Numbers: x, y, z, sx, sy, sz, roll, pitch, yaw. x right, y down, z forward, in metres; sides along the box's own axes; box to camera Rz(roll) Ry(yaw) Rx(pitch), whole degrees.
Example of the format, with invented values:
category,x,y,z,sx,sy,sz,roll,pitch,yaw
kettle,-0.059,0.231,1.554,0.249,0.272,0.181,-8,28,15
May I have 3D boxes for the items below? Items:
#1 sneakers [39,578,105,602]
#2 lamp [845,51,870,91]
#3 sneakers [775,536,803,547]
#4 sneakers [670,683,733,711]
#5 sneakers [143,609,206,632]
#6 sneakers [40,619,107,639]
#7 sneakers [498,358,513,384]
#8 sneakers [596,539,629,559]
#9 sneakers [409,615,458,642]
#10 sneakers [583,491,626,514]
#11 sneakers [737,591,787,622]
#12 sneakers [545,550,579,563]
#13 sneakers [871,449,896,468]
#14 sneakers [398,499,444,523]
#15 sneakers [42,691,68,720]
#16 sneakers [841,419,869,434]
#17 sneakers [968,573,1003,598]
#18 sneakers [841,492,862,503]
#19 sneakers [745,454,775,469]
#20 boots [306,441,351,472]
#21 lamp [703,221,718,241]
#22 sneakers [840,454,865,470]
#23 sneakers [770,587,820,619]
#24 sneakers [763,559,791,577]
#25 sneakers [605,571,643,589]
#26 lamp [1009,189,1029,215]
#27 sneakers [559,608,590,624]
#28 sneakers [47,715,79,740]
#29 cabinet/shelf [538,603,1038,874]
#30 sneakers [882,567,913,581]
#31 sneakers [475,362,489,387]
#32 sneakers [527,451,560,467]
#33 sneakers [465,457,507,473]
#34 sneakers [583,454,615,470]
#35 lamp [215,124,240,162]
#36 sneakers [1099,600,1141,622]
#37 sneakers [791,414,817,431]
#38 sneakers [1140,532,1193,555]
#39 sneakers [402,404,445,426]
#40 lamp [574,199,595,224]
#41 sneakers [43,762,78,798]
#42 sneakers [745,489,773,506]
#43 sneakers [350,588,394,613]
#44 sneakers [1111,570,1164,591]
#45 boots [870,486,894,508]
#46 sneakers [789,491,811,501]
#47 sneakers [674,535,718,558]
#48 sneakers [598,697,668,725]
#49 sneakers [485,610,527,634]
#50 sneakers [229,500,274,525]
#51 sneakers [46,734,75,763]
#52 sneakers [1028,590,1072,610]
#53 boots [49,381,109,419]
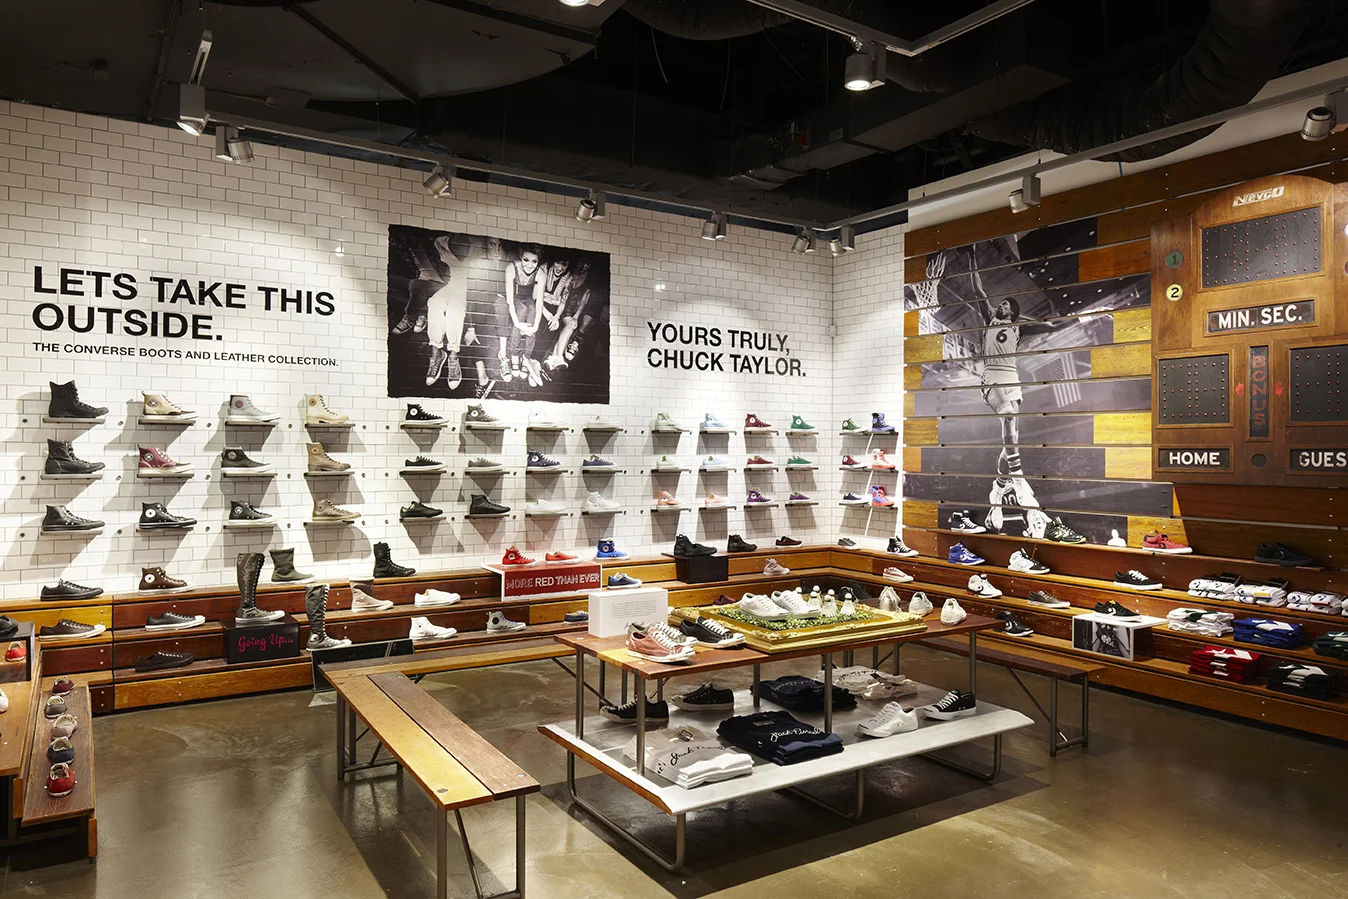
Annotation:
category,x,y,z,sx,sy,sz,roll,pitch,yaw
sneakers,-5.437,1.294,7.788,0.557,0.158,0.186,0,0,-19
lamp,1.425,-2.970,6.623,0.168,0.237,0.180,9,15,33
sneakers,1.477,1.207,11.099,0.353,0.116,0.108,0,-7,-9
sneakers,0.265,1.934,6.634,0.633,0.195,0.203,1,-8,4
sneakers,-4.605,1.580,7.892,0.389,0.104,0.174,1,-2,-23
sneakers,-5.333,1.595,7.599,0.476,0.138,0.168,0,0,-24
sneakers,-1.894,-0.905,9.670,0.137,0.251,0.109,-1,6,45
sneakers,-0.761,1.159,10.007,0.345,0.207,0.322,-2,12,-13
sneakers,-2.428,1.816,8.584,0.521,0.218,0.188,0,-2,-18
sneakers,-0.847,0.630,10.008,0.397,0.151,0.265,-2,-3,44
sneakers,0.625,1.143,6.158,0.313,0.088,0.150,-1,-3,35
sneakers,-1.261,1.202,9.511,0.297,0.079,0.142,0,-3,-18
sneakers,2.636,0.121,10.871,0.200,0.246,0.395,-9,15,-37
sneakers,-2.668,0.670,9.105,0.503,0.164,0.162,0,-1,-12
sneakers,-4.648,1.931,6.402,0.206,0.121,0.321,3,-6,-20
sneakers,2.361,-0.284,11.197,0.304,0.200,0.354,1,11,6
sneakers,3.362,1.507,9.330,0.180,0.150,0.397,0,0,-27
sneakers,2.316,0.639,11.126,0.102,0.089,0.272,3,-6,-32
sneakers,1.148,0.162,11.124,0.431,0.137,0.133,1,-2,-32
boots,-3.548,0.121,8.832,0.590,0.298,0.198,0,0,-19
lamp,0.401,-2.446,9.393,0.151,0.182,0.328,1,11,5
sneakers,2.328,0.193,11.108,0.177,0.198,0.390,-6,13,-27
sneakers,0.867,1.128,6.191,0.394,0.119,0.152,-1,-2,33
sneakers,1.287,1.463,10.530,0.401,0.137,0.152,-1,1,-29
sneakers,-0.515,1.428,9.230,0.403,0.121,0.162,2,-1,-35
lamp,3.323,-2.437,8.253,0.146,0.187,0.316,3,12,11
sneakers,-1.092,1.791,9.176,0.215,0.071,0.269,3,-5,-35
sneakers,-4.304,1.961,6.018,0.192,0.093,0.178,2,1,-35
cabinet/shelf,0.424,2.020,6.395,3.513,1.041,1.969,0,0,-33
sneakers,2.549,1.446,9.814,0.283,0.089,0.149,1,-2,29
sneakers,-2.146,-0.854,9.555,0.125,0.281,0.064,-5,15,-22
sneakers,-1.500,0.109,9.757,0.329,0.152,0.251,0,11,-3
sneakers,-2.101,0.176,9.467,0.474,0.148,0.149,1,-4,-4
sneakers,-0.835,0.164,10.105,0.465,0.155,0.137,0,-3,-22
lamp,-3.915,-2.700,7.453,0.197,0.276,0.174,11,17,40
sneakers,4.330,1.570,8.324,0.319,0.097,0.127,-1,-3,37
sneakers,1.718,-0.355,11.395,0.370,0.218,0.184,-8,15,-35
sneakers,4.753,0.924,8.284,0.445,0.158,0.153,-2,-6,41
sneakers,-2.692,-0.381,9.185,0.409,0.221,0.218,-3,13,-16
lamp,-0.923,-2.496,8.835,0.179,0.226,0.390,-3,12,-13
sneakers,-4.002,2.183,5.631,0.178,0.183,0.243,4,-3,-45
sneakers,1.089,0.638,11.073,0.345,0.185,0.299,0,11,-2
sneakers,-3.048,1.528,8.604,0.454,0.216,0.180,-1,1,-25
sneakers,4.536,1.290,8.392,0.380,0.123,0.151,-2,-3,34
boots,2.636,0.595,10.871,0.196,0.219,0.360,-7,13,-28
sneakers,1.642,0.633,11.338,0.317,0.090,0.093,1,-4,-23
sneakers,0.311,1.167,10.128,0.619,0.200,0.199,-3,-6,32
sneakers,-0.257,1.960,6.362,0.632,0.186,0.208,-1,-5,20
sneakers,-1.776,1.808,8.847,0.448,0.180,0.173,1,-2,-20
sneakers,-4.190,0.623,8.435,0.386,0.249,0.251,-6,14,-29
sneakers,-4.171,2.058,5.830,0.155,0.167,0.205,6,-9,-37
sneakers,3.868,1.567,8.840,0.358,0.107,0.156,-1,-1,31
boots,-5.501,-0.454,7.845,0.425,0.329,0.154,-6,15,-27
